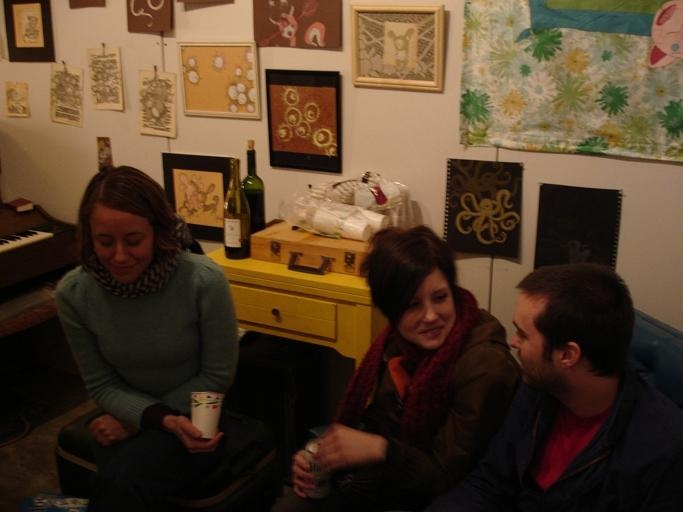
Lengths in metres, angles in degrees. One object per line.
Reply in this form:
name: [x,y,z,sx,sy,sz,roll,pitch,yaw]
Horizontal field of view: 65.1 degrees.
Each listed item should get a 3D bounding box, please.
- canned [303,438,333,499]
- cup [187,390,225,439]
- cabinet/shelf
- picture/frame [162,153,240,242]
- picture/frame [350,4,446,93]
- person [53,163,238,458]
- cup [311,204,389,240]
canned: [-0.073,0.639,1.608,0.067,0.137,0.096,-4,15,-27]
cup: [-0.427,0.500,1.705,0.131,0.141,0.135,0,-5,0]
cabinet/shelf: [-0.157,0.203,2.240,0.745,0.466,0.425,9,20,21]
picture/frame: [-0.664,-0.297,2.602,0.438,0.454,0.023,9,23,22]
picture/frame: [0.260,-0.894,2.280,0.362,0.313,0.028,6,19,19]
person: [-0.643,0.201,1.785,0.594,0.936,0.495,7,30,6]
cup: [0.026,-0.160,2.311,0.254,0.104,0.156,13,40,23]
